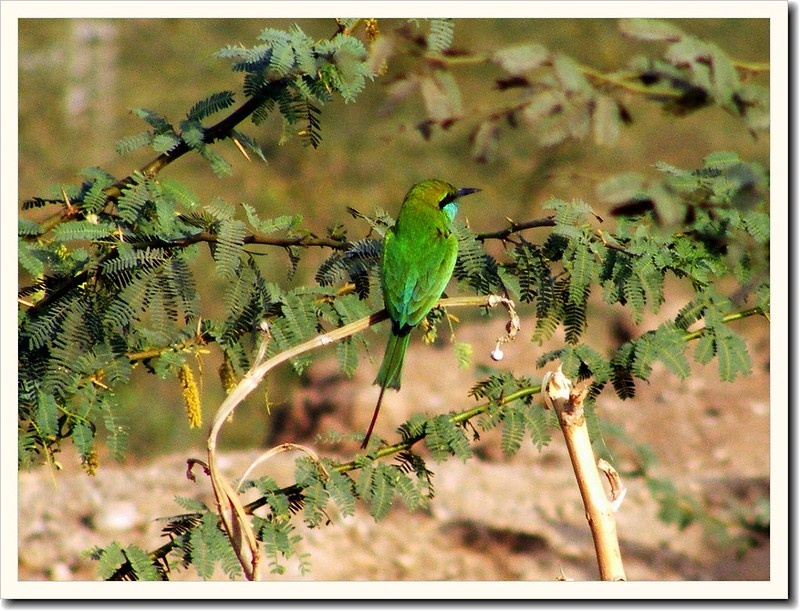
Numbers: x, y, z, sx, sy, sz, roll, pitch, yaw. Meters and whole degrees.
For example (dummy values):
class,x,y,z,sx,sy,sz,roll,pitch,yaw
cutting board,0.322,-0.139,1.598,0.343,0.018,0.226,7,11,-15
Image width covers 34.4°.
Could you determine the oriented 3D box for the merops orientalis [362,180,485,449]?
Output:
class,x,y,z,sx,sy,sz,roll,pitch,yaw
merops orientalis,0.109,-0.146,7.482,0.488,0.546,1.807,12,67,14
